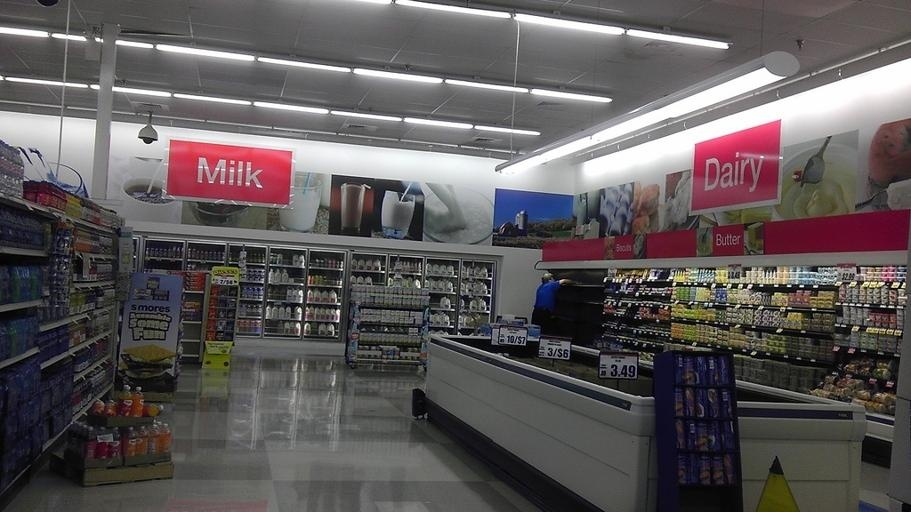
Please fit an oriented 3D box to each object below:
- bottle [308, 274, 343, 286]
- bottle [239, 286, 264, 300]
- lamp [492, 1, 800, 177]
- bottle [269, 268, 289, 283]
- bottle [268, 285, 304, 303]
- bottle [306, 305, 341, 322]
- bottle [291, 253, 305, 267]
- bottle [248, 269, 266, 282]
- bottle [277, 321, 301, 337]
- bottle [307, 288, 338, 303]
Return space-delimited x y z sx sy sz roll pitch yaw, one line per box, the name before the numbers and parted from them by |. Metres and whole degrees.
bottle | -3.616 0.678 16.953 0.915 0.292 0.390 1 8 -13
bottle | -5.457 0.979 16.488 0.610 0.309 0.230 1 8 -12
lamp | 2.872 -2.213 9.615 0.707 1.419 4.407 -1 9 -29
bottle | -4.862 0.526 16.784 0.397 0.504 0.168 2 -9 -13
bottle | -4.648 1.029 16.799 0.963 0.418 0.333 2 8 -9
bottle | -3.628 1.581 16.790 0.908 0.358 0.297 1 8 -14
bottle | -4.325 0.099 16.939 0.353 0.349 0.344 -1 -5 18
bottle | -5.365 0.513 16.499 0.492 0.320 0.154 1 -9 -10
bottle | -4.495 1.958 16.717 0.581 0.363 0.316 2 8 -4
bottle | -3.640 1.093 16.897 0.844 0.379 0.353 1 8 -13
